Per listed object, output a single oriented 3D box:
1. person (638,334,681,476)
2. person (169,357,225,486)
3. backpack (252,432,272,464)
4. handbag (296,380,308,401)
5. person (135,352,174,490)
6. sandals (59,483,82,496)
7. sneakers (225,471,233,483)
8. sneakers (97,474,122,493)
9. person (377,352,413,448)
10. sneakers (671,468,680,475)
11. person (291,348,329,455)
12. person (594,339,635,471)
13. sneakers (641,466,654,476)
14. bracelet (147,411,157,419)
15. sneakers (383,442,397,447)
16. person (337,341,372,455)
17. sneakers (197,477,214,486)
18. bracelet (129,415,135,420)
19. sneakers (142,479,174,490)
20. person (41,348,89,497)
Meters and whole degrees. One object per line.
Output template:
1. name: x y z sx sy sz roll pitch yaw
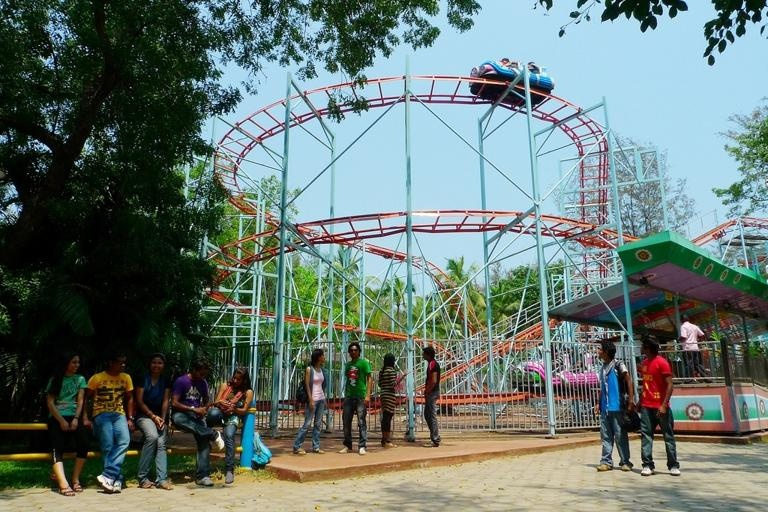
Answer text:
1. person: 5.008 2.765 11.036 0.734 2.484 0.743 -7 -17 21
2. person: -3.235 2.855 10.216 0.604 2.092 0.778 -15 -21 40
3. backpack: -2.260 3.556 10.906 0.319 0.591 0.292 3 -17 -13
4. handbag: -1.685 2.777 12.152 0.208 0.406 0.532 2 -17 -11
5. person: -3.926 2.819 10.164 0.722 2.206 0.559 6 -17 -22
6. sandals: -5.001 3.735 9.479 0.319 0.157 0.213 6 -18 -23
7. sneakers: -2.668 3.797 10.193 0.166 0.194 0.164 -1 -16 0
8. sneakers: -4.412 3.703 9.550 0.218 0.183 0.491 -8 31 -37
9. person: 0.110 3.336 13.841 0.396 2.103 0.807 -1 -16 -1
10. sneakers: 5.236 3.887 10.688 0.160 0.123 0.236 -8 -18 23
11. person: -1.560 3.018 12.401 0.590 2.146 1.479 1 -16 -8
12. person: 4.343 2.819 11.269 0.727 2.391 0.822 -3 -16 5
13. sneakers: 4.741 3.889 10.710 0.110 0.105 0.266 -18 -35 29
14. bracelet: -3.884 2.673 9.947 0.116 0.082 0.127 7 -5 5
15. sneakers: 0.147 4.344 13.673 0.345 0.136 0.116 -3 -16 7
16. person: -0.629 3.048 12.885 0.628 2.377 1.090 0 -16 -5
17. sneakers: -2.994 3.811 9.988 0.324 0.131 0.112 -8 -26 24
18. bracelet: -4.283 2.737 10.091 0.085 0.084 0.085 3 -9 -5
19. sneakers: -3.768 3.819 9.889 0.378 0.108 0.208 -5 -20 8
20. person: -5.315 2.777 9.945 0.705 2.270 0.840 8 -19 -29
